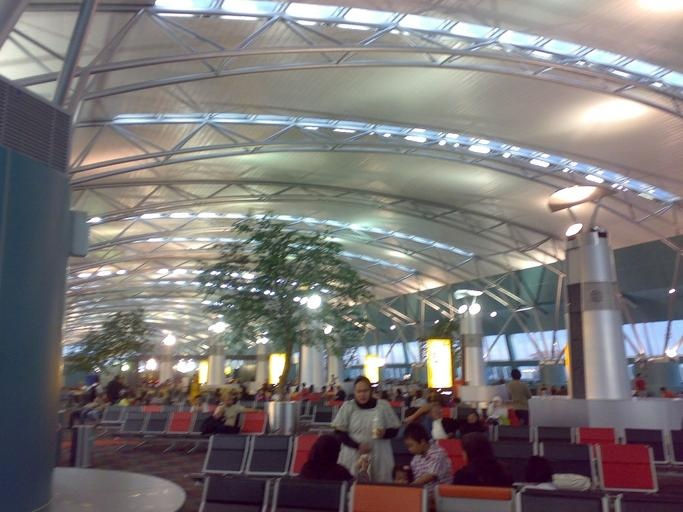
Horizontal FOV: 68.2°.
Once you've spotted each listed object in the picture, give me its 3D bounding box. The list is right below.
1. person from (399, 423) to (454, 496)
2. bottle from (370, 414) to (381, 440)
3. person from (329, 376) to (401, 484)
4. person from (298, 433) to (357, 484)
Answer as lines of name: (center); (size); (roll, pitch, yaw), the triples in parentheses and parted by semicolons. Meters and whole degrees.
person: (1.231, 2.970, 7.026); (0.754, 1.091, 0.672); (-9, -15, 16)
bottle: (0.485, 2.275, 6.768); (0.128, 0.290, 0.101); (-1, -18, 2)
person: (0.377, 2.350, 6.896); (0.810, 1.404, 0.702); (13, -21, -36)
person: (-0.214, 2.812, 6.924); (0.718, 0.355, 0.875); (1, 2, 2)
